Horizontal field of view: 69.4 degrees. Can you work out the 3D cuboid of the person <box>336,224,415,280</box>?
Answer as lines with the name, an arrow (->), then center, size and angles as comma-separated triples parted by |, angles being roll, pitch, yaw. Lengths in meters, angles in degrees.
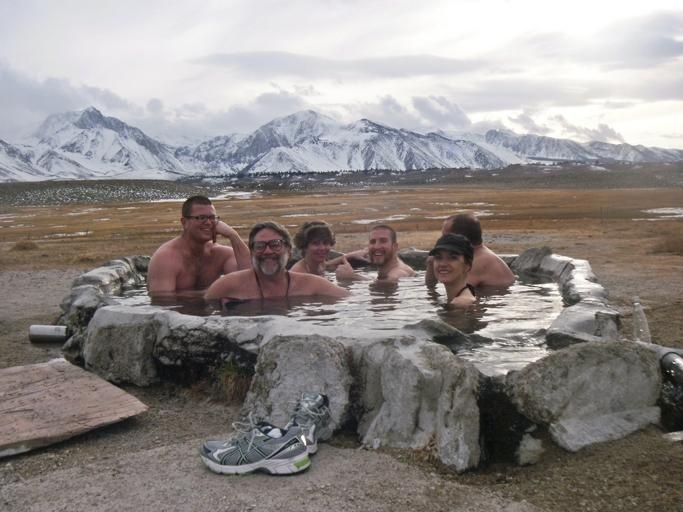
person -> 0.657, 0.033, 9.515 | 1.684, 1.088, 1.039 | -3, 1, 19

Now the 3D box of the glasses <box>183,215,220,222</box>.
glasses -> -2.105, -0.557, 7.349 | 0.405, 0.101, 0.118 | -3, 11, -14

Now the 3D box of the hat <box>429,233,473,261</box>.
hat -> 1.398, -0.097, 6.290 | 0.527, 0.336, 0.345 | 0, 11, 6

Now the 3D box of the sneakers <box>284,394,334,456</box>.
sneakers -> -0.261, 1.366, 4.110 | 0.218, 0.233, 0.542 | 2, 1, 13

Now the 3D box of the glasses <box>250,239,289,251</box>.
glasses -> -0.945, -0.145, 6.512 | 0.450, 0.156, 0.156 | -3, 11, -10

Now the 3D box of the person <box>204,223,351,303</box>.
person -> -0.906, 0.158, 6.911 | 2.195, 1.030, 0.881 | -1, -7, 5
